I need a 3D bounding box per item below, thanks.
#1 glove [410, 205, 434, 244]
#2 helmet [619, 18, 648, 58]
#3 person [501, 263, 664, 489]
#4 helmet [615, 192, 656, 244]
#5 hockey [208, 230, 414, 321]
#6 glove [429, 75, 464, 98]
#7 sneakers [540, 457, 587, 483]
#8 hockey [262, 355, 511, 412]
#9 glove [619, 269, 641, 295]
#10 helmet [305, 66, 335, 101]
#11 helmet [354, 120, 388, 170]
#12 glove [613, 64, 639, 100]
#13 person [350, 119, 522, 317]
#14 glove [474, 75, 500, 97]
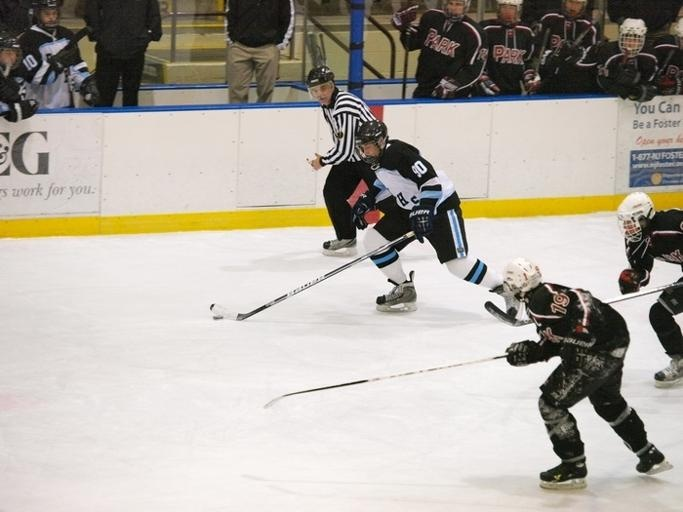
[{"bbox_3d":[0.532,-0.207,5.607,0.183,0.213,0.111,6,12,31],"label":"glove"},{"bbox_3d":[2.973,-2.282,8.494,0.323,0.358,0.384,8,36,14],"label":"helmet"},{"bbox_3d":[1.203,0.641,4.043,0.784,1.000,0.247,4,6,8],"label":"person"},{"bbox_3d":[1.719,-0.228,4.807,0.196,0.285,0.151,6,7,28],"label":"helmet"},{"bbox_3d":[-0.418,0.152,5.982,2.222,0.257,0.249,7,-38,-29],"label":"hockey"},{"bbox_3d":[1.061,-1.708,8.332,0.259,0.221,0.124,3,6,5],"label":"glove"},{"bbox_3d":[1.093,1.056,4.063,0.291,0.134,0.088,1,9,0],"label":"sneakers"},{"bbox_3d":[0.286,0.790,5.017,1.640,0.093,0.145,-9,24,-1],"label":"hockey"},{"bbox_3d":[1.768,0.148,4.941,0.134,0.140,0.160,-9,-7,9],"label":"glove"},{"bbox_3d":[-0.162,-1.397,6.650,0.208,0.318,0.248,3,6,5],"label":"helmet"},{"bbox_3d":[0.198,-0.782,5.707,0.221,0.345,0.260,1,6,-14],"label":"helmet"},{"bbox_3d":[2.937,-1.801,8.416,0.225,0.363,0.163,4,6,14],"label":"glove"},{"bbox_3d":[0.707,-0.270,5.891,1.365,1.307,0.681,2,2,17],"label":"person"},{"bbox_3d":[1.554,-1.803,8.630,0.325,0.227,0.159,-3,8,-44],"label":"glove"}]
